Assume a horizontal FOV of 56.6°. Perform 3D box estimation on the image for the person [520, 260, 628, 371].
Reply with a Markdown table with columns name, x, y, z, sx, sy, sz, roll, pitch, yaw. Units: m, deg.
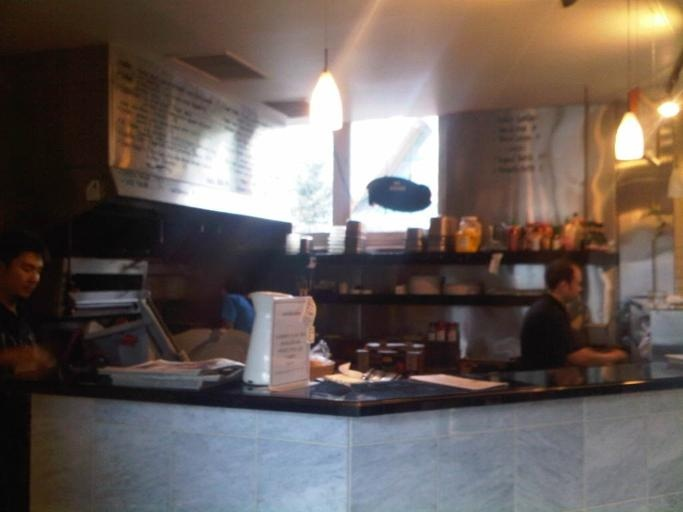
| name | x | y | z | sx | sy | sz | roll | pitch | yaw |
| --- | --- | --- | --- | --- | --- | --- | --- | --- | --- |
| person | 1.706 | 0.397 | 4.648 | 0.687 | 0.741 | 0.706 | 0 | 16 | 18 |

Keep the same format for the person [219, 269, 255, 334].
| name | x | y | z | sx | sy | sz | roll | pitch | yaw |
| --- | --- | --- | --- | --- | --- | --- | --- | --- | --- |
| person | -0.948 | 0.408 | 5.739 | 0.273 | 0.516 | 0.701 | -1 | -2 | -11 |
